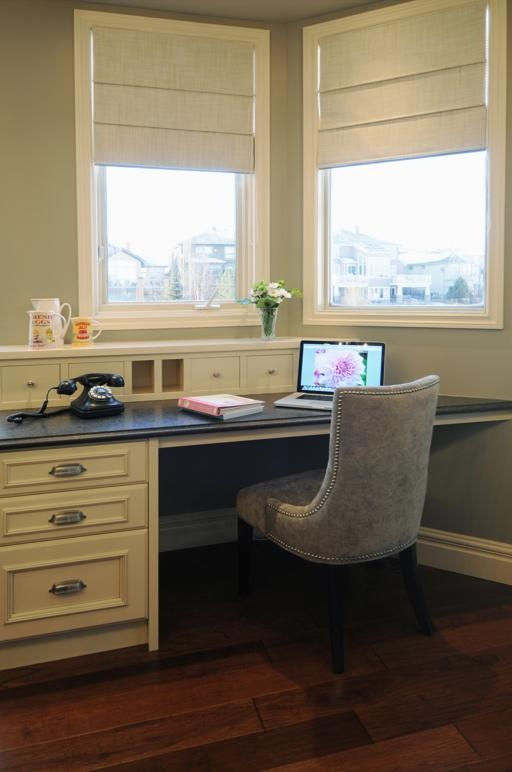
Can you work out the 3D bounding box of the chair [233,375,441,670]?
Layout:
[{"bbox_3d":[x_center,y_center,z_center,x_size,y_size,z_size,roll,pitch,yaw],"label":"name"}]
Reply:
[{"bbox_3d":[0.245,0.372,1.968,0.431,0.823,0.567,-6,8,-41],"label":"chair"}]

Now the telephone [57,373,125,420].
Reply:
[{"bbox_3d":[-0.533,0.022,2.093,0.239,0.156,0.136,-4,7,-39],"label":"telephone"}]

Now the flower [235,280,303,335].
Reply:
[{"bbox_3d":[0.063,-0.326,2.716,0.205,0.237,0.178,4,7,30],"label":"flower"}]

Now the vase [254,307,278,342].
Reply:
[{"bbox_3d":[0.060,-0.276,2.738,0.110,0.169,0.120,1,0,4],"label":"vase"}]

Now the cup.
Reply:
[{"bbox_3d":[-0.668,-0.226,2.376,0.307,0.219,0.146,2,3,-7],"label":"cup"}]
